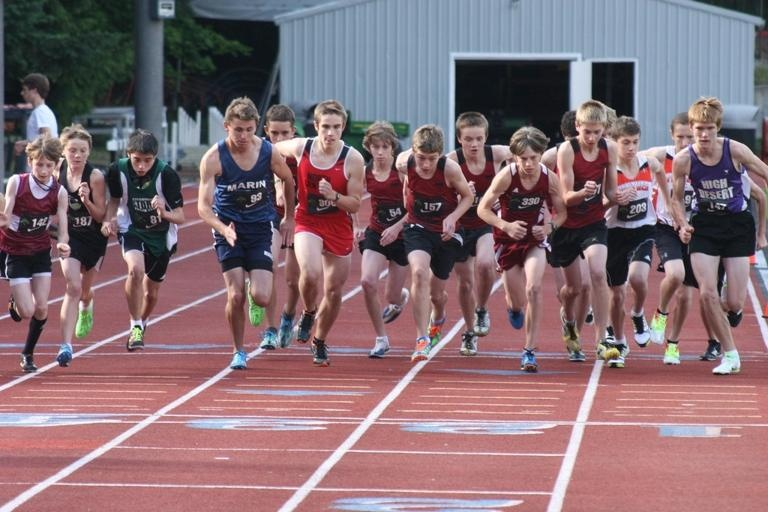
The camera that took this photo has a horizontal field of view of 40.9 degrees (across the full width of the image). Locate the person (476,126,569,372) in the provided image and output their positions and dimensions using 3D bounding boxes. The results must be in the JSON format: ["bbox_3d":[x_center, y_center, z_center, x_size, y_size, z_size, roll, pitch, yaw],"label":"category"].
[{"bbox_3d":[1.195,-0.060,9.074,0.733,2.128,1.252,0,5,6],"label":"person"}]

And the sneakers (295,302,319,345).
[{"bbox_3d":[-0.716,0.638,9.483,0.125,0.391,0.148,13,-16,-20],"label":"sneakers"}]

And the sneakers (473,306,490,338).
[{"bbox_3d":[0.945,0.635,10.068,0.108,0.348,0.150,-1,-42,2],"label":"sneakers"}]

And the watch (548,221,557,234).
[{"bbox_3d":[1.408,-0.233,8.643,0.085,0.083,0.088,14,14,-3],"label":"watch"}]

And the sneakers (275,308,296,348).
[{"bbox_3d":[-0.946,0.678,9.684,0.134,0.388,0.166,0,14,-5],"label":"sneakers"}]

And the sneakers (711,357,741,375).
[{"bbox_3d":[2.881,0.933,8.687,0.298,0.131,0.110,0,-1,-22],"label":"sneakers"}]

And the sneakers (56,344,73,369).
[{"bbox_3d":[-2.755,0.839,8.832,0.110,0.153,0.313,3,1,-7],"label":"sneakers"}]

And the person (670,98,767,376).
[{"bbox_3d":[2.797,-0.145,8.626,0.713,2.317,0.568,-1,4,-12],"label":"person"}]

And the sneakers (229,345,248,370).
[{"bbox_3d":[-1.255,0.887,8.871,0.109,0.108,0.249,0,2,-4],"label":"sneakers"}]

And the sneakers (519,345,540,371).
[{"bbox_3d":[1.260,0.904,8.990,0.104,0.148,0.294,0,1,-2],"label":"sneakers"}]

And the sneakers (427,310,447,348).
[{"bbox_3d":[0.464,0.724,9.626,0.135,0.388,0.165,13,13,13],"label":"sneakers"}]

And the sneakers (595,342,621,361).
[{"bbox_3d":[1.922,0.823,8.940,0.098,0.119,0.240,-3,-3,-28],"label":"sneakers"}]

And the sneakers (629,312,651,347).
[{"bbox_3d":[2.426,0.702,9.762,0.132,0.419,0.173,-16,-22,24],"label":"sneakers"}]

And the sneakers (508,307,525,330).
[{"bbox_3d":[1.293,0.611,10.121,0.107,0.133,0.300,-9,-26,-3],"label":"sneakers"}]

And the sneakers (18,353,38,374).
[{"bbox_3d":[-3.048,0.904,8.805,0.099,0.123,0.276,1,1,-26],"label":"sneakers"}]

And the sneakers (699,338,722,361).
[{"bbox_3d":[2.946,0.853,9.338,0.108,0.131,0.285,0,1,28],"label":"sneakers"}]

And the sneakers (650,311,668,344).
[{"bbox_3d":[2.678,0.703,10.014,0.129,0.405,0.165,8,-25,-5],"label":"sneakers"}]

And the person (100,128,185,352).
[{"bbox_3d":[-2.131,-0.095,9.122,0.665,2.024,0.910,-1,5,-13],"label":"person"}]

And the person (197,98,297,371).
[{"bbox_3d":[-1.183,-0.163,8.871,0.809,2.346,1.155,1,5,14],"label":"person"}]

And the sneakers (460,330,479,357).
[{"bbox_3d":[0.802,0.838,9.776,0.207,0.289,0.632,0,-3,4],"label":"sneakers"}]

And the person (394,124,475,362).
[{"bbox_3d":[0.432,-0.109,9.111,0.663,2.079,0.890,-1,5,-14],"label":"person"}]

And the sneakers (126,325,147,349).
[{"bbox_3d":[-2.301,0.749,9.564,0.124,0.176,0.375,2,1,-12],"label":"sneakers"}]

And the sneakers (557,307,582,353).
[{"bbox_3d":[1.661,0.700,9.280,0.161,0.502,0.218,-5,25,1],"label":"sneakers"}]

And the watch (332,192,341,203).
[{"bbox_3d":[-0.401,-0.497,8.656,0.069,0.066,0.044,2,9,-45],"label":"watch"}]
